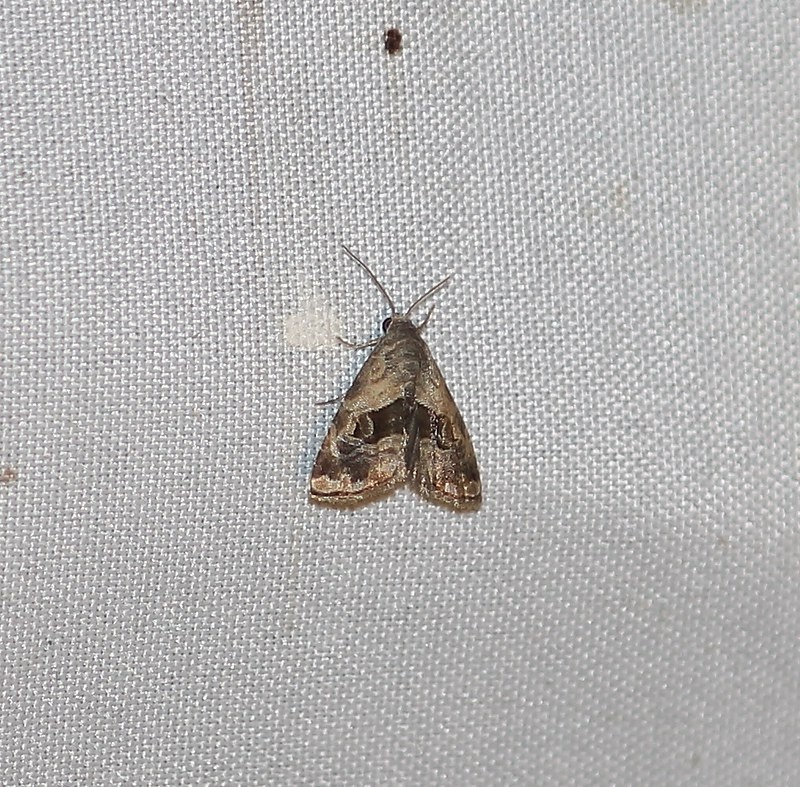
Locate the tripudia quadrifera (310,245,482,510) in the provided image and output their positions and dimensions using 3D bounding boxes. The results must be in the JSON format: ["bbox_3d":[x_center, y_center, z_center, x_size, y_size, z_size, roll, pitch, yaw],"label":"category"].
[{"bbox_3d":[0.013,0.011,2.126,0.278,0.533,0.126,1,-38,3],"label":"tripudia quadrifera"}]
